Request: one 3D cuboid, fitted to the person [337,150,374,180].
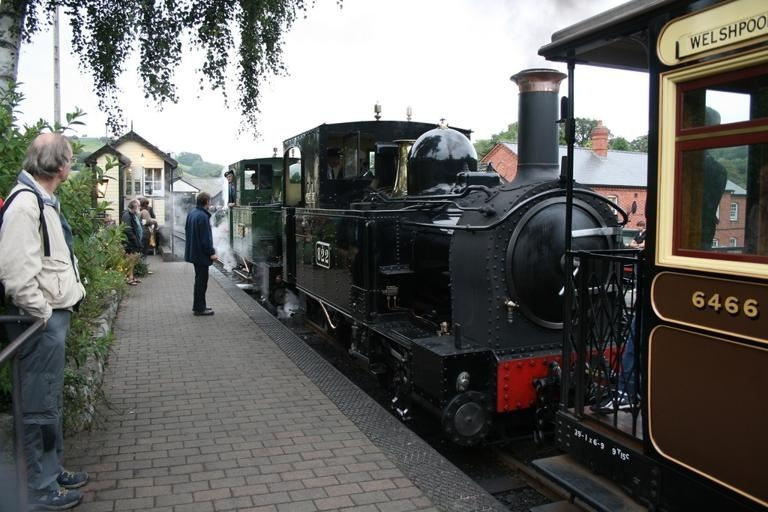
[{"bbox_3d":[-0.468,-1.451,8.397,0.457,0.582,0.787,2,-2,0],"label":"person"}]

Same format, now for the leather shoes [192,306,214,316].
[{"bbox_3d":[-3.543,1.080,10.147,0.410,0.187,0.155,-4,8,-18],"label":"leather shoes"}]

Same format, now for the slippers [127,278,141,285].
[{"bbox_3d":[-6.558,0.616,13.574,0.246,0.184,0.577,0,6,-16],"label":"slippers"}]

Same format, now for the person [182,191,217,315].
[{"bbox_3d":[-3.604,-0.057,10.109,0.516,2.372,0.714,-1,7,-24],"label":"person"}]

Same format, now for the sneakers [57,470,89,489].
[{"bbox_3d":[-2.488,1.791,4.190,0.256,0.108,0.092,-1,7,-19],"label":"sneakers"}]
